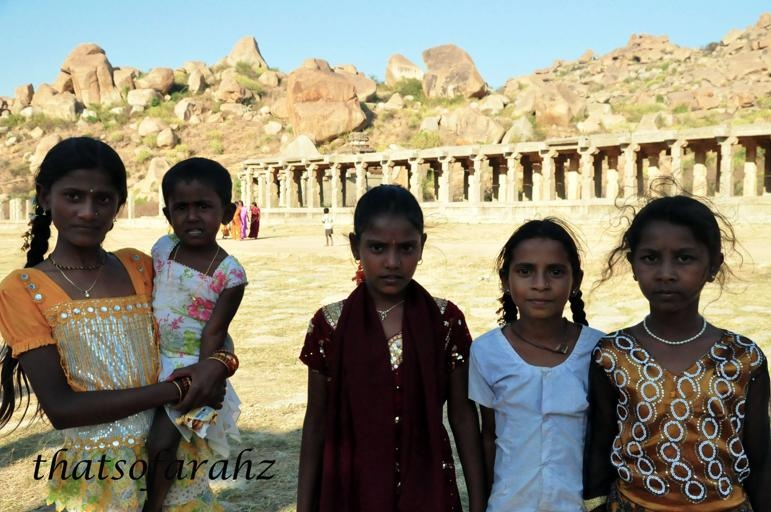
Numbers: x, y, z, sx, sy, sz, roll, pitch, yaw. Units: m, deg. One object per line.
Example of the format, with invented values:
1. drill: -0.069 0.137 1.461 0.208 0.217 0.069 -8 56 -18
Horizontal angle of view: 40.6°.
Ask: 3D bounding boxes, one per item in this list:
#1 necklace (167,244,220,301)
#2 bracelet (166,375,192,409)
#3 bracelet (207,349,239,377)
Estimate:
1. necklace: -1.163 0.041 6.623 0.241 0.206 0.080 20 -9 0
2. bracelet: -1.247 0.815 6.294 0.087 0.140 0.134 6 3 22
3. bracelet: -1.021 0.662 6.489 0.168 0.092 0.184 20 -20 -32
